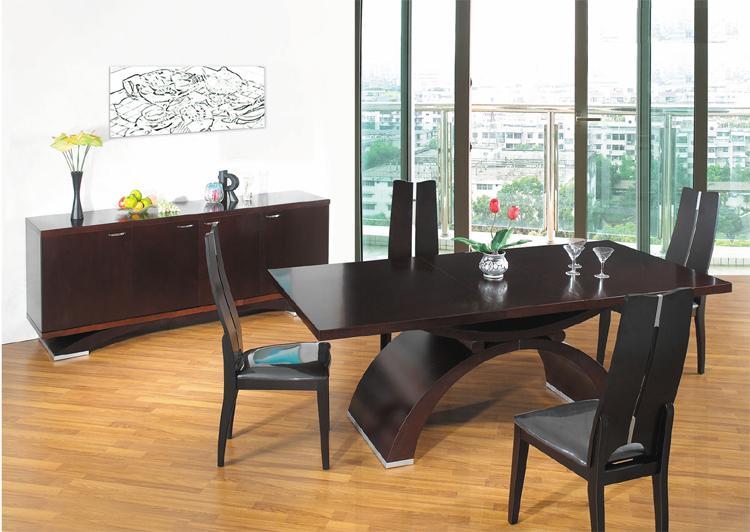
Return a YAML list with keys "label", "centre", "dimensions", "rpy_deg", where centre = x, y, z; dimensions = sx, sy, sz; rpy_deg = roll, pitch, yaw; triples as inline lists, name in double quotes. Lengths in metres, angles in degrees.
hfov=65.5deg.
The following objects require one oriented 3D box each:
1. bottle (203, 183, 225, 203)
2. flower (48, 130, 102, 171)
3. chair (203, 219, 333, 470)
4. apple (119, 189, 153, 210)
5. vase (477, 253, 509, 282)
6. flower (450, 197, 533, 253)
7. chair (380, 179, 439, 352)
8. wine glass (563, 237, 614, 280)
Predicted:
- label: "bottle"
  centre: [-1.368, -0.619, 4.962]
  dimensions: [0.164, 0.158, 0.157]
  rpy_deg: [-2, 8, -13]
- label: "flower"
  centre: [-2.348, -0.868, 4.545]
  dimensions: [0.443, 0.225, 0.368]
  rpy_deg: [-17, 18, -33]
- label: "chair"
  centre: [-0.558, 0.431, 3.265]
  dimensions: [0.749, 1.170, 0.659]
  rpy_deg: [3, 8, 2]
- label: "apple"
  centre: [-1.929, -0.513, 4.732]
  dimensions: [0.208, 0.102, 0.211]
  rpy_deg: [7, 10, 32]
- label: "vase"
  centre: [0.668, -0.001, 3.364]
  dimensions: [0.158, 0.131, 0.156]
  rpy_deg: [-6, 14, -25]
- label: "flower"
  centre: [0.690, -0.227, 3.392]
  dimensions: [0.339, 0.337, 0.416]
  rpy_deg: [6, 5, -12]
- label: "chair"
  centre: [0.165, 0.062, 4.153]
  dimensions: [0.442, 1.260, 0.470]
  rpy_deg: [1, -3, -28]
- label: "wine glass"
  centre: [1.268, -0.043, 3.444]
  dimensions: [0.270, 0.186, 0.303]
  rpy_deg: [-2, 10, -4]
